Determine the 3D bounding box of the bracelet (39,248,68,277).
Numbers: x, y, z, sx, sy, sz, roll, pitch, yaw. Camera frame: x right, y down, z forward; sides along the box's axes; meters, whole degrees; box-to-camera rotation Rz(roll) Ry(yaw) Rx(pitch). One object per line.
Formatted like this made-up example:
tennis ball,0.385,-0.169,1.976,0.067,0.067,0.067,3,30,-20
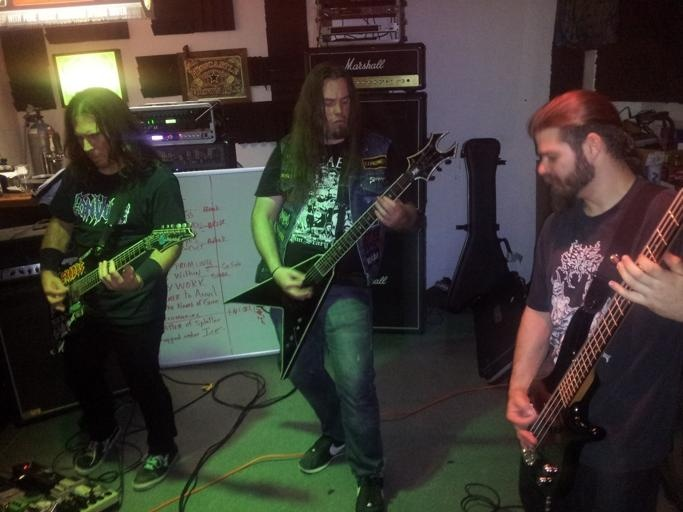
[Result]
bracelet,-1.723,0.039,3.186,0.156,0.180,0.160,3,-7,12

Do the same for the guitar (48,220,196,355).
guitar,-1.296,0.149,3.127,1.170,0.482,0.134,-35,-21,20

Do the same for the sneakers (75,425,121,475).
sneakers,-1.593,1.278,3.439,0.129,0.125,0.339,8,32,11

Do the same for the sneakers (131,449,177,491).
sneakers,-1.163,1.325,3.257,0.106,0.122,0.298,7,9,8

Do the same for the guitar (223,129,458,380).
guitar,-0.012,0.087,3.164,0.743,2.040,0.127,44,2,12

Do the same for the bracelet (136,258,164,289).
bracelet,-1.081,0.079,2.911,0.146,0.127,0.142,-16,22,-31

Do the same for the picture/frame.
picture/frame,-1.205,-1.745,4.937,0.816,0.646,0.085,0,19,5
